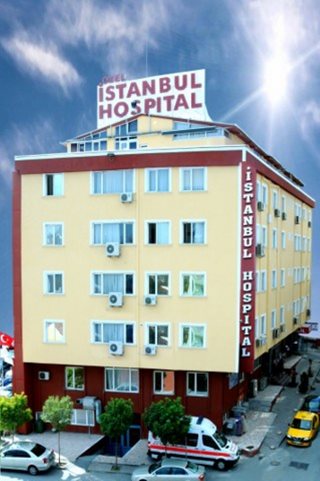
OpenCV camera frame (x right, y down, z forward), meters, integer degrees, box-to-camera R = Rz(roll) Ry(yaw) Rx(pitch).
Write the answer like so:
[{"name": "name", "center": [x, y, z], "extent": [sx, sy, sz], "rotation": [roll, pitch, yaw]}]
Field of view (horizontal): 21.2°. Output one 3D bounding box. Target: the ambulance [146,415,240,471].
[{"name": "ambulance", "center": [2.012, 10.951, 45.937], "extent": [4.943, 3.344, 2.361], "rotation": [-1, 5, 14]}]

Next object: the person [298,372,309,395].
[{"name": "person", "center": [9.625, 9.554, 57.113], "extent": [0.659, 1.110, 1.797], "rotation": [-1, 4, 10]}]
